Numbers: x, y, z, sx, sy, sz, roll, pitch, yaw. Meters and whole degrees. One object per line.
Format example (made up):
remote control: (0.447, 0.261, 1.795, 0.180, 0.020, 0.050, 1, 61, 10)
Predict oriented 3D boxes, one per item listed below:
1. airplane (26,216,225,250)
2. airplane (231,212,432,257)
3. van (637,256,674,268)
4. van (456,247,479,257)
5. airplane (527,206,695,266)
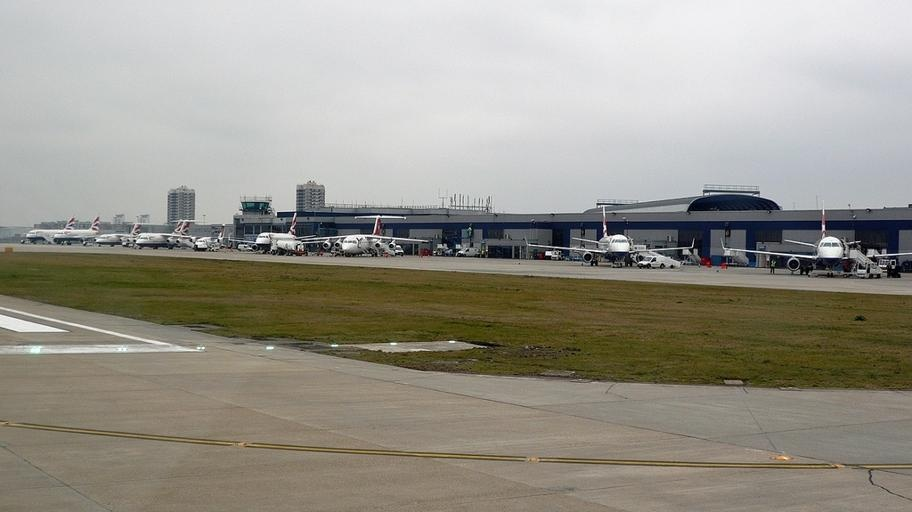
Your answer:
airplane: (-55.414, -3.878, 186.290, 25.939, 5.563, 50.742, 1, -1, -25)
airplane: (-18.184, -3.321, 155.886, 18.484, 6.174, 32.186, 1, 0, -10)
van: (21.775, 0.603, 122.363, 4.535, 1.038, 1.464, 2, -2, -30)
van: (1.871, -0.689, 163.240, 2.559, 0.885, 1.547, 3, -1, -5)
airplane: (21.460, -2.530, 134.947, 15.336, 7.496, 35.378, 0, 0, 6)
